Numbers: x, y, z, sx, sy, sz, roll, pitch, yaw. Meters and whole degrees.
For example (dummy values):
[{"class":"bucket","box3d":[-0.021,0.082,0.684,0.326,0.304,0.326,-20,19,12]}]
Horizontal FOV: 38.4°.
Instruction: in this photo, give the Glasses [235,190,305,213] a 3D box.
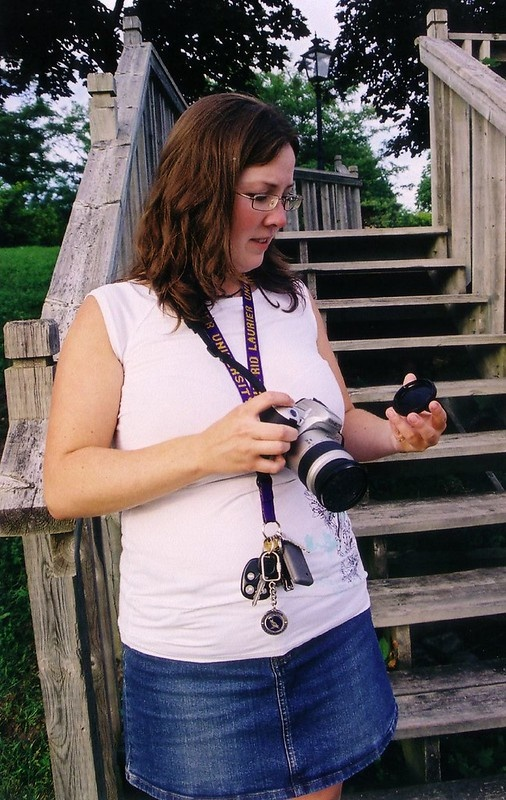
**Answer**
[{"class":"Glasses","box3d":[0.012,-0.434,1.592,0.113,0.031,0.111,-8,17,-39]}]

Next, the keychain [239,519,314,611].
[{"class":"keychain","box3d":[0.042,0.288,1.362,0.034,0.171,0.129,-49,17,10]}]
